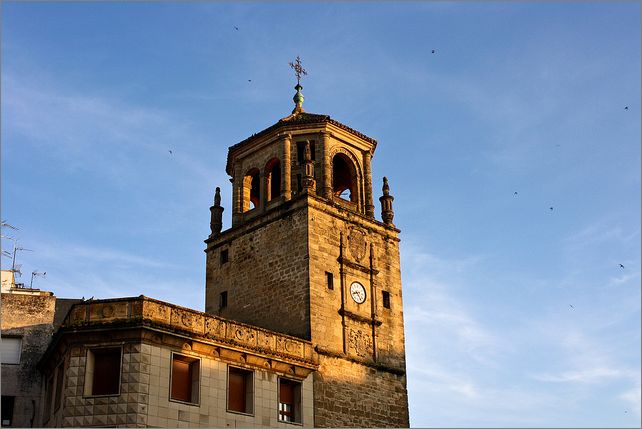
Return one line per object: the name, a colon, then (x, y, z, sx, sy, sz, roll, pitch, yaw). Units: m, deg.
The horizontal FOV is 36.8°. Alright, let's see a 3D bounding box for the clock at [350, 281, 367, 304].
clock: (2.033, 4.566, 55.785, 0.074, 1.026, 1.033, -30, -83, 39)
